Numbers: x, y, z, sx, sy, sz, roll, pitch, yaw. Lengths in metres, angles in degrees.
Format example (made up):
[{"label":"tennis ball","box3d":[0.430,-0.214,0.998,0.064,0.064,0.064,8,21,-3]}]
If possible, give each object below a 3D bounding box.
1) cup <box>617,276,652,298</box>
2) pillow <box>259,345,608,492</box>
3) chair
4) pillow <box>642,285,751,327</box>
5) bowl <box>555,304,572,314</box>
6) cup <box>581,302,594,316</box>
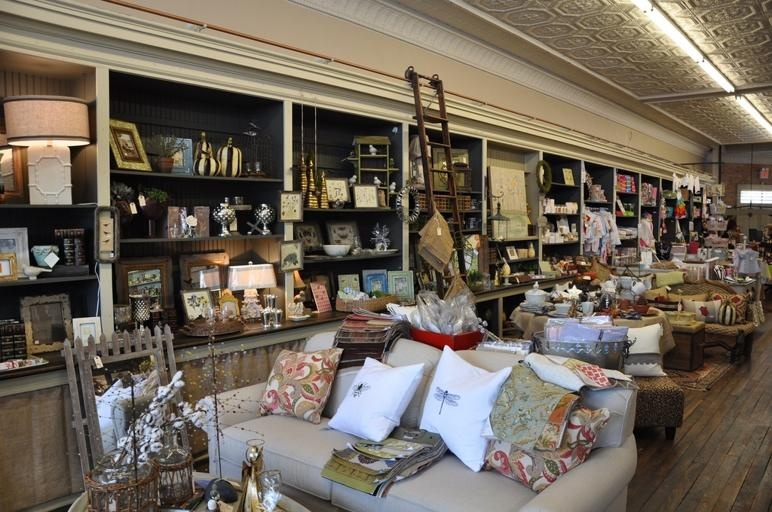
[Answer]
[{"label":"cup","box3d":[2.976,0.355,6.032,0.348,0.206,0.420,1,1,15]},{"label":"pillow","box3d":[0.541,1.113,3.422,1.834,0.627,0.932,-2,13,35]},{"label":"chair","box3d":[2.632,1.224,5.165,0.663,0.892,0.736,2,13,0]},{"label":"pillow","box3d":[4.665,0.709,7.374,1.241,0.476,0.859,0,4,-7]},{"label":"bowl","box3d":[1.967,0.572,5.454,0.137,0.085,0.134,-2,2,0]},{"label":"cup","box3d":[2.148,0.560,5.337,0.158,0.144,0.119,-1,5,-27]}]
